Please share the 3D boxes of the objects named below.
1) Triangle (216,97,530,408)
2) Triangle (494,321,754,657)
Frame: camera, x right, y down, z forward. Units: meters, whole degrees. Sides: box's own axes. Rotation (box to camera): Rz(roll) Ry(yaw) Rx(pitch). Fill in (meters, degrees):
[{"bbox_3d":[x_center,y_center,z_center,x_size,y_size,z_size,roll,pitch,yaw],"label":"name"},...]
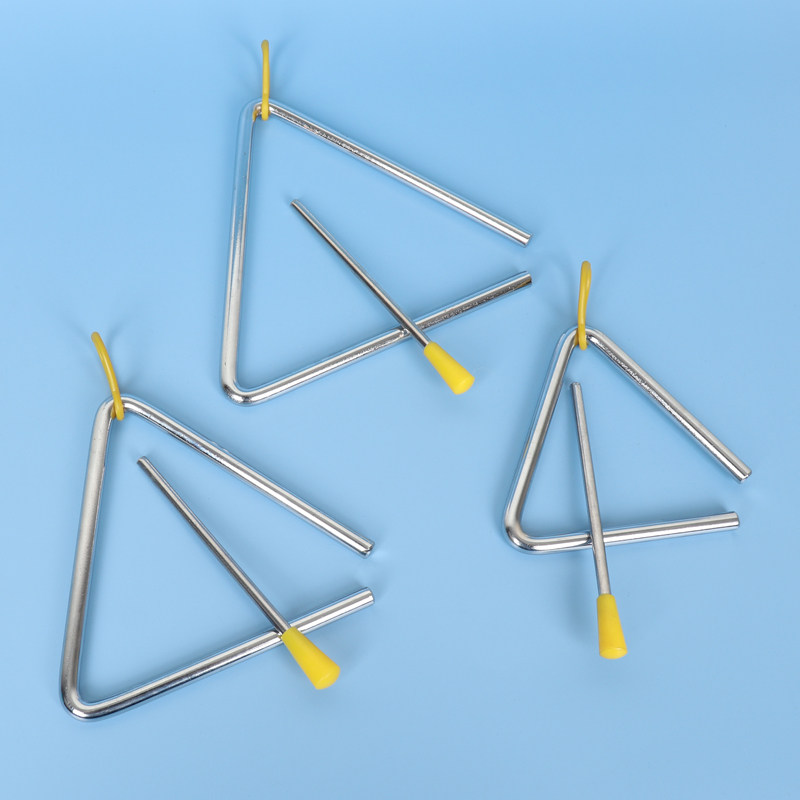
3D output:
[{"bbox_3d":[-0.033,-0.222,1.333,0.396,0.301,0.326,-4,-68,10],"label":"Triangle"},{"bbox_3d":[0.270,0.132,1.227,0.290,0.326,0.237,34,-66,-7],"label":"Triangle"}]
